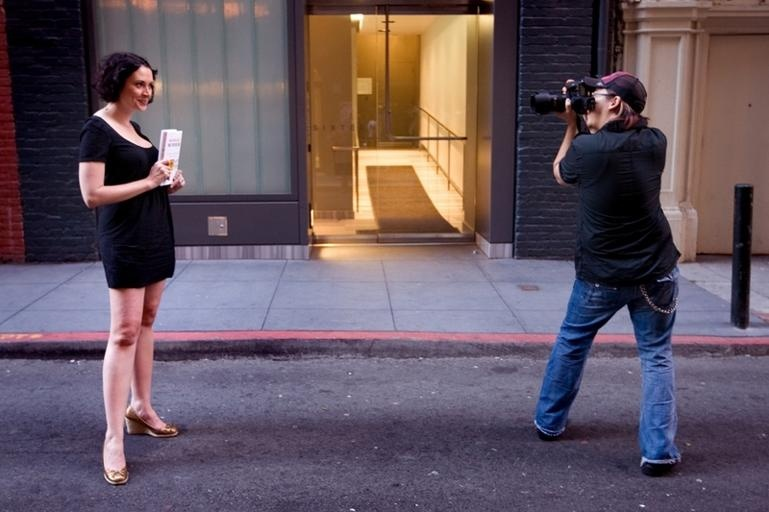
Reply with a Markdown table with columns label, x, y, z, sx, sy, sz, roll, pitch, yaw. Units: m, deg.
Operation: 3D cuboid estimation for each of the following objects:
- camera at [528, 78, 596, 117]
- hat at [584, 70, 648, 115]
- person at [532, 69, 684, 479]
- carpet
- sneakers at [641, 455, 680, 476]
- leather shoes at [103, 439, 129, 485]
| label | x | y | z | sx | sy | sz | roll | pitch | yaw |
| --- | --- | --- | --- | --- | --- | --- | --- | --- | --- |
| camera | 1.335 | -1.177 | 4.752 | 0.440 | 0.220 | 0.250 | 1 | 34 | 4 |
| hat | 1.725 | -1.262 | 4.678 | 0.429 | 0.196 | 0.300 | 35 | 26 | 30 |
| person | 1.713 | 0.097 | 4.710 | 1.094 | 2.814 | 0.842 | 4 | 16 | 25 |
| carpet | 0.288 | -0.917 | 10.569 | 1.160 | 1.820 | 0.045 | -8 | 38 | 3 |
| sneakers | 2.006 | 1.501 | 4.596 | 0.238 | 0.080 | 0.135 | -1 | 7 | -9 |
| leather shoes | -1.922 | 1.517 | 4.538 | 0.117 | 0.117 | 0.330 | 0 | 1 | -31 |
